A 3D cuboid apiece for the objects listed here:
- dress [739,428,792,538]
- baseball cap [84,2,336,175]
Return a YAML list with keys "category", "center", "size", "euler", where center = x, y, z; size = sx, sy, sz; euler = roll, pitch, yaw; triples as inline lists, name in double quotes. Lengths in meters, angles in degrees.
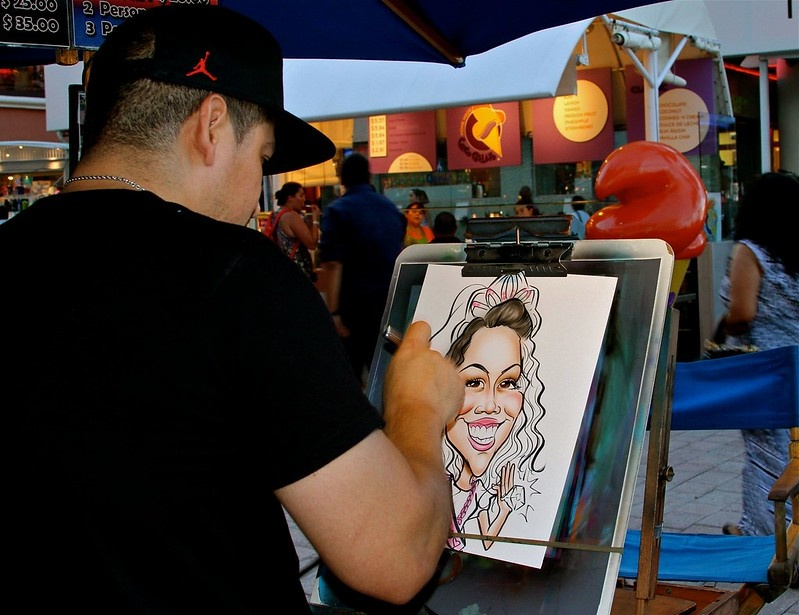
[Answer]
- category: "dress"
  center: [1.750, 0.827, 3.089]
  size: [0.200, 0.524, 0.304]
  euler: [0, 4, 29]
- category: "baseball cap"
  center: [-0.313, -0.315, 1.082]
  size: [0.360, 0.202, 0.273]
  euler: [3, -4, -23]
